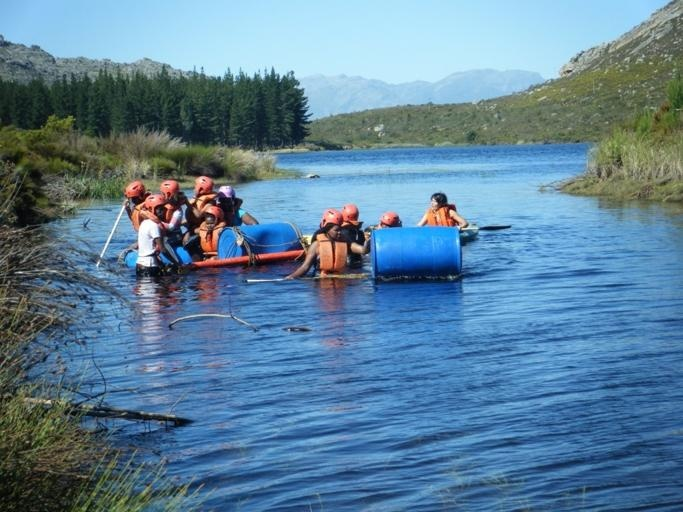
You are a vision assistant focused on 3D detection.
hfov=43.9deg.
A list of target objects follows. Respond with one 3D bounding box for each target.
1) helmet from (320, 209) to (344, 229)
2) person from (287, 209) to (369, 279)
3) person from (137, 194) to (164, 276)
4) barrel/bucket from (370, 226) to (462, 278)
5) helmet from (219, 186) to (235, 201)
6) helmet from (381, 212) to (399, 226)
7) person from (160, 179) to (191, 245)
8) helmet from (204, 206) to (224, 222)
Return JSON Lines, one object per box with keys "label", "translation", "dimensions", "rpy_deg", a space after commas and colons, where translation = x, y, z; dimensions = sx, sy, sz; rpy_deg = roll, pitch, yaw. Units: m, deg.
{"label": "helmet", "translation": [-0.164, -0.683, 15.721], "dimensions": [0.420, 0.346, 0.318], "rpy_deg": [10, 15, 36]}
{"label": "person", "translation": [-0.273, -0.175, 16.908], "dimensions": [1.854, 1.440, 0.456], "rpy_deg": [-13, 31, -22]}
{"label": "person", "translation": [-3.607, -0.368, 15.980], "dimensions": [0.547, 1.443, 0.484], "rpy_deg": [0, 12, 8]}
{"label": "barrel/bucket", "translation": [1.328, -0.008, 15.234], "dimensions": [1.587, 0.930, 0.421], "rpy_deg": [-1, 12, 2]}
{"label": "helmet", "translation": [-2.402, -1.330, 17.703], "dimensions": [0.321, 0.347, 0.356], "rpy_deg": [0, -3, 3]}
{"label": "helmet", "translation": [0.985, -0.751, 17.570], "dimensions": [0.294, 0.307, 0.353], "rpy_deg": [5, 13, -31]}
{"label": "person", "translation": [-3.340, -0.812, 17.092], "dimensions": [0.510, 1.251, 0.984], "rpy_deg": [-4, 11, -11]}
{"label": "helmet", "translation": [-2.598, -0.838, 17.189], "dimensions": [0.379, 0.336, 0.455], "rpy_deg": [-2, 11, -7]}
